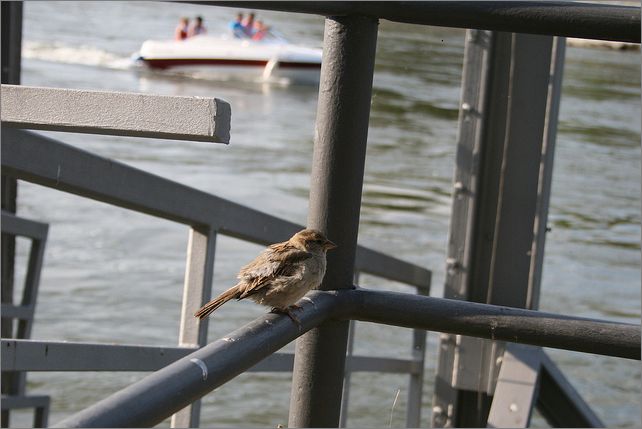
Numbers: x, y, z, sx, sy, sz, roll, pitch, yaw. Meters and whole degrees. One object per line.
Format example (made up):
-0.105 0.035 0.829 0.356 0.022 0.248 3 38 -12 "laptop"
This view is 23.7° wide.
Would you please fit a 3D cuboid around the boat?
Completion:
-1.771 -3.349 31.431 4.178 0.833 1.406 1 0 38 "boat"
